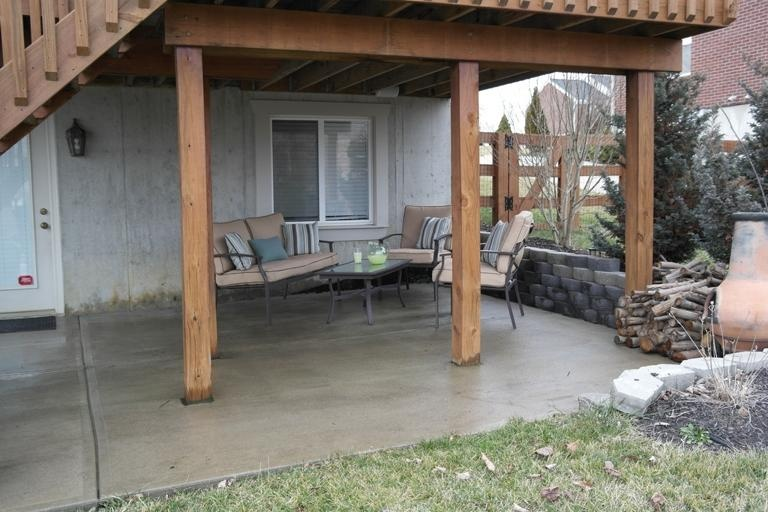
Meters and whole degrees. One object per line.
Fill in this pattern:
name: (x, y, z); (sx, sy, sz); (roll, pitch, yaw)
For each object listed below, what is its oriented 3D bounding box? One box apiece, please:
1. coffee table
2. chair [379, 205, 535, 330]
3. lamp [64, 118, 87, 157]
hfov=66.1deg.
coffee table: (-0.307, 0.700, 7.792); (0.760, 0.669, 1.460); (2, 7, 21)
chair: (0.938, 0.035, 7.997); (1.865, 1.410, 3.443); (-6, 12, -21)
lamp: (-4.119, -1.569, 7.890); (0.260, 0.515, 0.223); (-6, 12, -23)
